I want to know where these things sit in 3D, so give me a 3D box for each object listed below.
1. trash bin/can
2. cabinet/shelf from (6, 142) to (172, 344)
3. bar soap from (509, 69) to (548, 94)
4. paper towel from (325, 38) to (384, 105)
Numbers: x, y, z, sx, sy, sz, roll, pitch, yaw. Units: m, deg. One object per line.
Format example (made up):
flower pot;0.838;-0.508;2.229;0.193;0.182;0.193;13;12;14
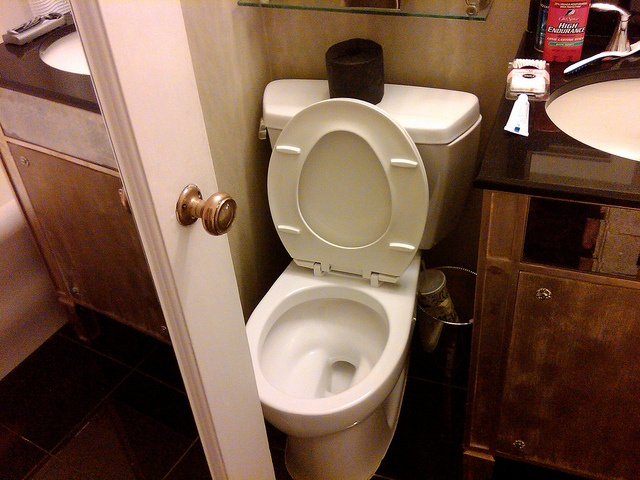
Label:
trash bin/can;0.441;0.317;1.739;0.218;0.371;0.231;-2;29;24
cabinet/shelf;-0.308;0.014;0.692;0.157;0.298;0.086;3;18;1
bar soap;0.451;-0.344;1.076;0.081;0.052;0.068;9;19;18
paper towel;0.087;-0.419;1.292;0.149;0.116;0.154;-20;48;-9
